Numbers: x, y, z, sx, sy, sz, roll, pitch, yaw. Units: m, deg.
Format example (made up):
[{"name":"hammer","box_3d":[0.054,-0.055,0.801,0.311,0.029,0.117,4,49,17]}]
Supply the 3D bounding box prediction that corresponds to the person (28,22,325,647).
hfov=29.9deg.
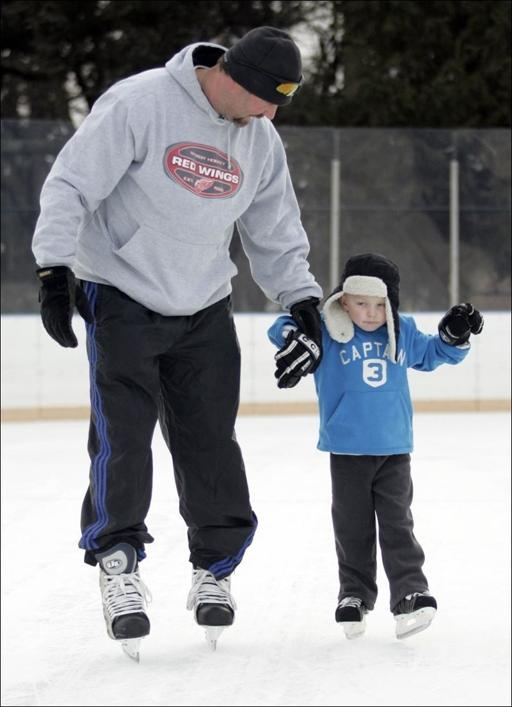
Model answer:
[{"name":"person","box_3d":[-0.161,-0.035,2.241,0.622,1.355,0.522,0,4,1]}]

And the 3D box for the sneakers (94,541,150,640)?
[{"name":"sneakers","box_3d":[-0.296,0.526,2.117,0.098,0.155,0.267,-5,5,-8]}]

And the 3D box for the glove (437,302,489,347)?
[{"name":"glove","box_3d":[0.503,-0.074,2.380,0.117,0.085,0.052,-31,1,-7]}]

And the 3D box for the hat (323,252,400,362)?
[{"name":"hat","box_3d":[0.267,-0.129,2.361,0.199,0.236,0.159,8,9,6]}]

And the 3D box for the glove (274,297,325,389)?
[{"name":"glove","box_3d":[0.094,-0.021,2.330,0.140,0.197,0.085,-8,-28,-17]}]

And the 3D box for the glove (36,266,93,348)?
[{"name":"glove","box_3d":[-0.410,-0.100,2.058,0.118,0.176,0.168,-2,4,-20]}]
